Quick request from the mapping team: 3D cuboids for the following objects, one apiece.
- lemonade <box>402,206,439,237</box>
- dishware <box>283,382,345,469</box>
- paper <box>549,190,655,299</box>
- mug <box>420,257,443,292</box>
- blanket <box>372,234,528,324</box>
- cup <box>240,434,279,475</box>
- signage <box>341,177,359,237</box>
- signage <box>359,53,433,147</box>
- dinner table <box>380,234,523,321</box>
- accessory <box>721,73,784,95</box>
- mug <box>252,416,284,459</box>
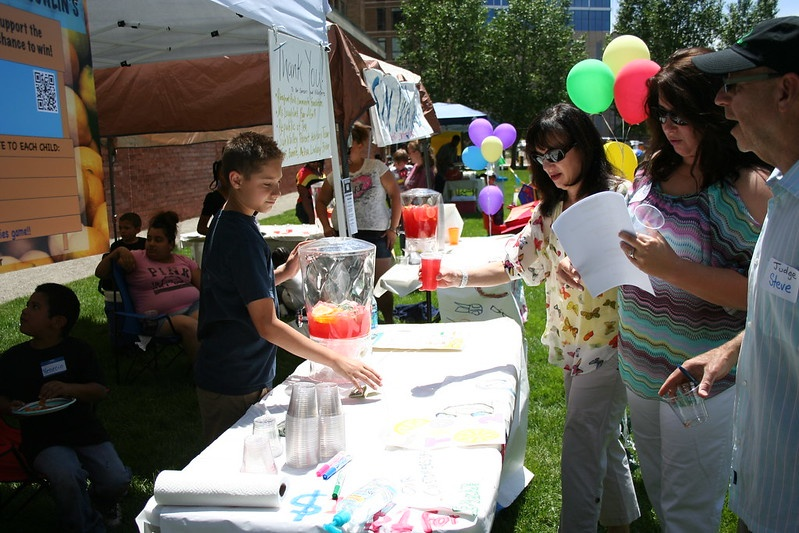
[{"bbox_3d":[0.196,-0.414,5.281,0.285,0.235,0.265,-1,4,32],"label":"lemonade"},{"bbox_3d":[-0.345,0.633,2.289,0.195,0.366,0.344,-1,1,0],"label":"dishware"},{"bbox_3d":[0.877,-0.112,2.490,0.367,0.514,0.154,-27,15,26],"label":"paper"},{"bbox_3d":[0.180,0.029,3.424,0.138,0.196,0.149,1,3,-25],"label":"mug"},{"bbox_3d":[0.666,0.206,5.397,0.900,0.297,1.168,-1,23,14],"label":"blanket"},{"bbox_3d":[-0.556,0.734,2.273,0.135,0.148,0.125,-1,6,0],"label":"cup"},{"bbox_3d":[-0.390,-0.493,4.569,0.038,0.473,0.208,-8,2,-28],"label":"signage"},{"bbox_3d":[-0.055,-1.950,6.686,0.244,0.901,2.556,-5,16,18],"label":"signage"},{"bbox_3d":[0.654,0.203,5.397,0.879,0.289,1.137,0,28,17],"label":"dinner table"},{"bbox_3d":[1.290,-0.677,2.076,0.183,0.061,0.054,10,17,41],"label":"accessory"},{"bbox_3d":[-0.525,0.683,2.337,0.149,0.199,0.166,-1,0,1],"label":"mug"}]
